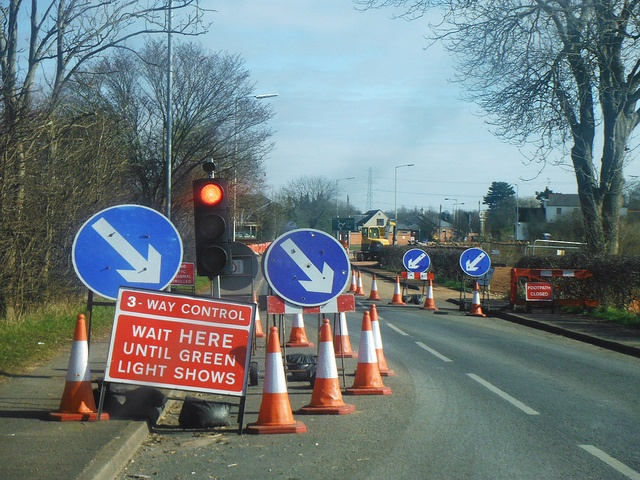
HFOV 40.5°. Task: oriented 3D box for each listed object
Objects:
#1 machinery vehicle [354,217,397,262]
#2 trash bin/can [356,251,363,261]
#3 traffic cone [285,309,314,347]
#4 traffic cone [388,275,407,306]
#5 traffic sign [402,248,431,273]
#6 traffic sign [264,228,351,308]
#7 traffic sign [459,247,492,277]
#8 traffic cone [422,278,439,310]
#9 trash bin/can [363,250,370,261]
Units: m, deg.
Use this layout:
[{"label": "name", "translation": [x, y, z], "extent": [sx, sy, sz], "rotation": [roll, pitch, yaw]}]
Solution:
[{"label": "machinery vehicle", "translation": [4.229, 0.039, 62.726], "extent": [1.585, 2.962, 4.303], "rotation": [5, -5, -34]}, {"label": "trash bin/can", "translation": [2.938, 1.220, 63.289], "extent": [0.359, 0.667, 1.574], "rotation": [-1, -2, -6]}, {"label": "traffic cone", "translation": [-0.496, 2.014, 19.649], "extent": [0.723, 1.131, 0.842], "rotation": [1, -9, -6]}, {"label": "traffic cone", "translation": [2.751, 1.687, 28.619], "extent": [0.655, 1.047, 0.752], "rotation": [0, -2, -7]}, {"label": "traffic sign", "translation": [3.359, 0.713, 29.812], "extent": [0.866, 1.045, 0.125], "rotation": [1, 10, -7]}, {"label": "traffic sign", "translation": [-0.224, 0.540, 15.198], "extent": [1.811, 2.153, 0.299], "rotation": [-2, 0, -3]}, {"label": "traffic sign", "translation": [4.857, 0.725, 27.335], "extent": [0.994, 1.162, 0.144], "rotation": [0, 8, -4]}, {"label": "traffic cone", "translation": [3.634, 1.742, 27.142], "extent": [0.651, 1.114, 0.752], "rotation": [0, -1, -6]}, {"label": "trash bin/can", "translation": [3.384, 1.077, 62.353], "extent": [0.490, 0.776, 1.509], "rotation": [-1, -2, -11]}]
